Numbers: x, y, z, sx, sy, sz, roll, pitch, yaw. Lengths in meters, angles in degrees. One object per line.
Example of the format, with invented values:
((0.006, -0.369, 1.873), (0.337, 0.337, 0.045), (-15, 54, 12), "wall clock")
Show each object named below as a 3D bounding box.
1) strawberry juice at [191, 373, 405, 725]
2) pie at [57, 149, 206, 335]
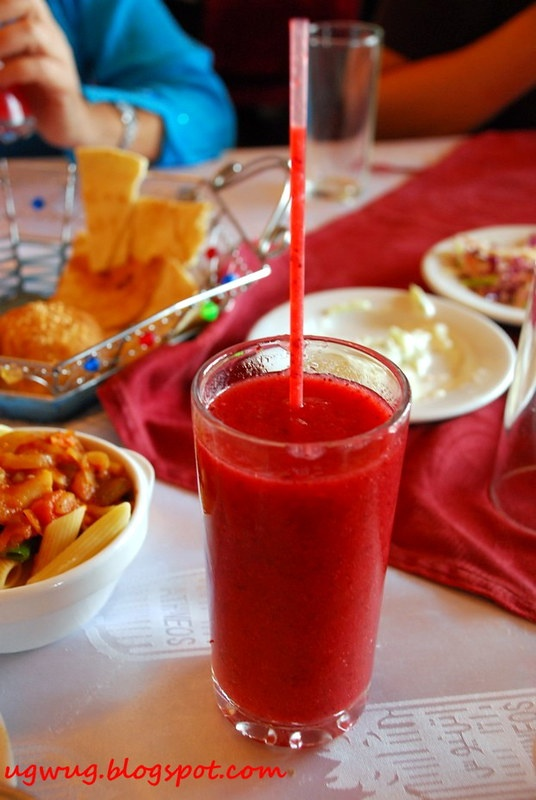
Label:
((0.017, 0.098, 0.410), (0.113, 0.204, 0.058), (-1, 27, -6), "strawberry juice")
((-0.184, -0.180, 0.967), (0.211, 0.249, 0.079), (7, -6, -3), "pie")
